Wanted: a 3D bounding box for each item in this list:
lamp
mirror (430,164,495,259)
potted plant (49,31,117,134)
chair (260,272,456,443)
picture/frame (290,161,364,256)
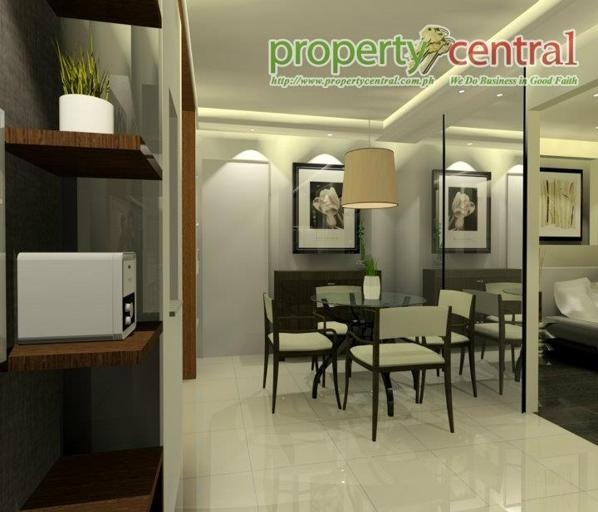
[{"bbox_3d":[0.627,-0.682,4.468,0.443,0.592,0.484,-3,-8,17],"label":"lamp"},{"bbox_3d":[1.532,-0.421,4.683,0.076,1.278,0.806,0,0,-35],"label":"mirror"},{"bbox_3d":[-0.782,-0.543,1.875,0.136,0.370,0.139,-14,16,-40],"label":"potted plant"},{"bbox_3d":[0.526,0.693,4.225,1.658,0.991,1.743,3,7,26],"label":"chair"},{"bbox_3d":[0.308,-0.533,5.614,0.775,1.141,0.048,1,-22,-1],"label":"picture/frame"}]
